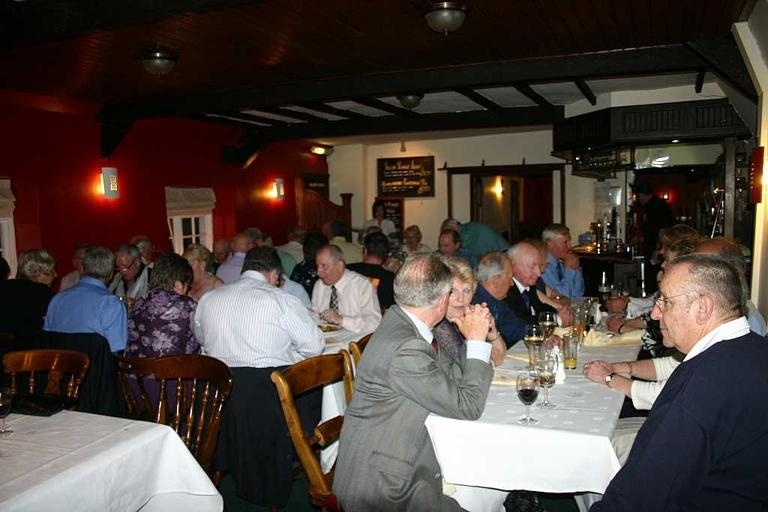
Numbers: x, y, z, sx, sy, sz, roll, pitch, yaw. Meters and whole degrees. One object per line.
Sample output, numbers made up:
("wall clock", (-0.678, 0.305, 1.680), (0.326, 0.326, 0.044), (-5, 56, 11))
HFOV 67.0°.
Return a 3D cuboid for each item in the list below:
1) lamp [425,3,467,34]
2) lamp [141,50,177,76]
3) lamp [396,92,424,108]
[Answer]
("lamp", (0.462, -1.788, 4.350), (0.226, 0.111, 0.224), (0, -9, 3))
("lamp", (-2.046, -1.769, 5.301), (0.306, 0.166, 0.229), (-1, 1, -22))
("lamp", (0.320, -1.883, 6.990), (0.262, 0.154, 0.258), (-1, 1, 0))
